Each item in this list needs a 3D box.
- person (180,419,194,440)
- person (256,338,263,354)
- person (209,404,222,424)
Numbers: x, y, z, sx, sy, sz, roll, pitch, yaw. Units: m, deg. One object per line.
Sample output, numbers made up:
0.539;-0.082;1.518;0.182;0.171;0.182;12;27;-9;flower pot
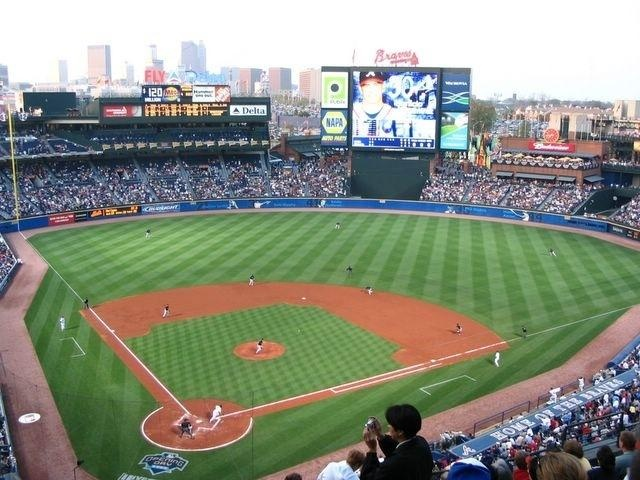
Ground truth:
-6.477;9.112;27.276;0.652;0.325;0.793;13;46;-33;person
-3.838;6.591;35.521;0.480;0.775;1.431;-6;14;-5;person
-5.373;8.846;28.850;0.611;0.481;1.351;-6;14;-7;person
